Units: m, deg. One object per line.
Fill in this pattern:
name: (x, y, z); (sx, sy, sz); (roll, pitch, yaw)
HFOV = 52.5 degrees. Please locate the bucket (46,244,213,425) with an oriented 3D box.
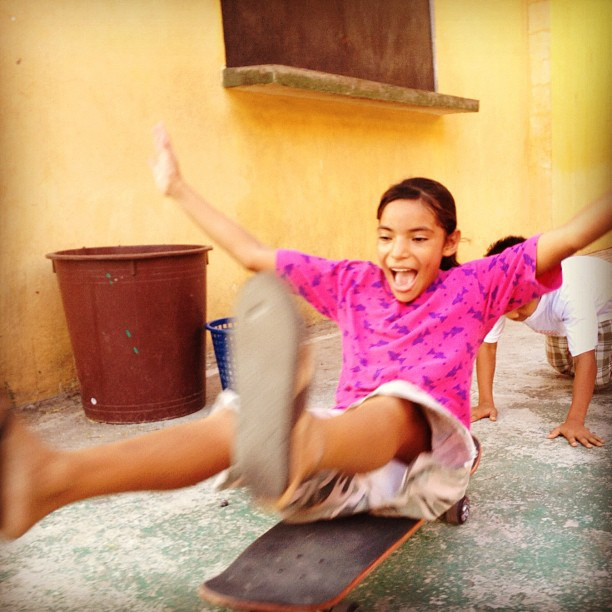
bucket: (-0.847, 0.160, 3.264); (0.797, 0.917, 0.302); (-8, 13, -17)

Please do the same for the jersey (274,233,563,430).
jersey: (0.317, 0.031, 1.800); (0.763, 0.303, 0.716); (0, 5, 13)
